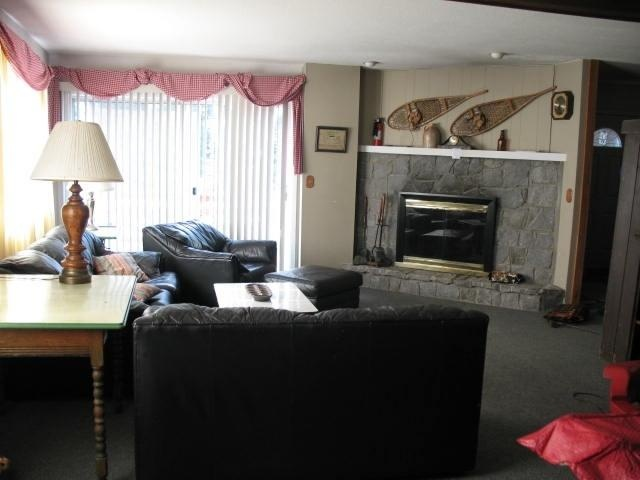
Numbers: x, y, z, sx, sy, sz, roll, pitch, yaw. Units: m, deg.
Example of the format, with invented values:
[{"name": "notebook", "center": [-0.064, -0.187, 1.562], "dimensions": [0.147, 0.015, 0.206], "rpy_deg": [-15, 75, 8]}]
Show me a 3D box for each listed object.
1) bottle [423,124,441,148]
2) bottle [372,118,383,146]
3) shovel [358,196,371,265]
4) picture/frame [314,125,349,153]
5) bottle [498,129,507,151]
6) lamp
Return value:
[{"name": "bottle", "center": [1.375, -1.277, 6.339], "dimensions": [0.201, 0.281, 0.147], "rpy_deg": [7, 13, 23]}, {"name": "bottle", "center": [0.736, -1.371, 6.524], "dimensions": [0.145, 0.337, 0.100], "rpy_deg": [3, 12, 6]}, {"name": "shovel", "center": [0.569, -0.135, 6.548], "dimensions": [0.144, 0.835, 0.354], "rpy_deg": [3, 12, 3]}, {"name": "picture/frame", "center": [0.119, -1.257, 6.345], "dimensions": [0.364, 0.293, 0.030], "rpy_deg": [1, 6, -6]}, {"name": "bottle", "center": [2.168, -1.181, 6.114], "dimensions": [0.109, 0.241, 0.159], "rpy_deg": [4, 12, 9]}, {"name": "lamp", "center": [-1.426, -0.220, 3.100], "dimensions": [0.470, 0.964, 0.306], "rpy_deg": [4, 13, 10]}]
